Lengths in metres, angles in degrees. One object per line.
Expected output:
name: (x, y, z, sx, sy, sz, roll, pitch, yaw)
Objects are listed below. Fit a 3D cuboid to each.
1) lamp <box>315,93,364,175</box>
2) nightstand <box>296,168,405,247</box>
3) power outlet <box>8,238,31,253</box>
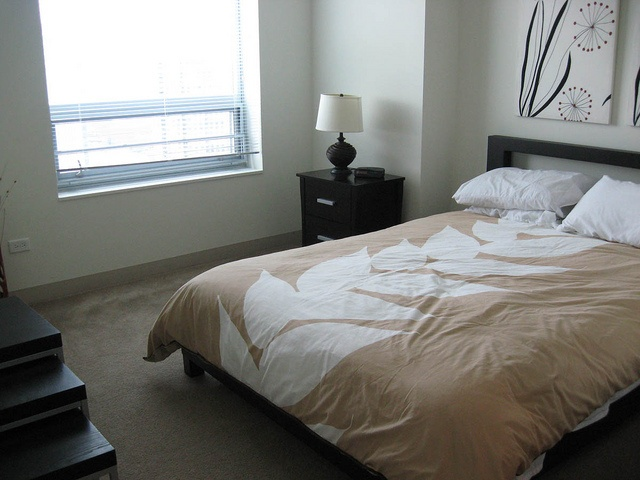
lamp: (0.184, -0.886, 4.061, 0.370, 0.623, 0.399, 5, 21, 16)
nightstand: (0.235, -0.119, 4.189, 0.538, 0.980, 0.730, -14, 25, -35)
power outlet: (-2.114, 0.036, 3.400, 0.087, 0.068, 0.012, -14, 23, -41)
